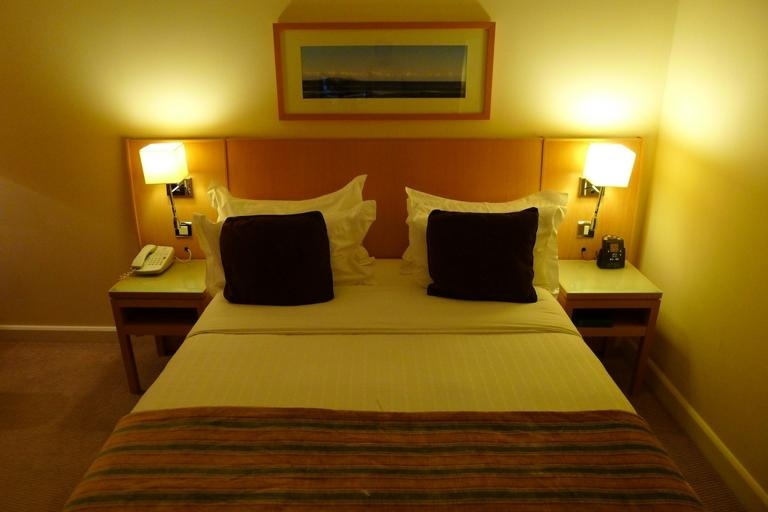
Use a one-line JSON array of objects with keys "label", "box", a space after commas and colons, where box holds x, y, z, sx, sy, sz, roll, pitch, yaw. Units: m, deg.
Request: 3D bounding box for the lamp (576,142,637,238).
[{"label": "lamp", "box": [1.534, -0.435, 3.800, 0.290, 0.686, 0.263, 3, 17, 10]}]

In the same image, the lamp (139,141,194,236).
[{"label": "lamp", "box": [-1.535, -0.454, 3.853, 0.290, 0.675, 0.255, -2, 17, -6]}]

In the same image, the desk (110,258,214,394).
[{"label": "desk", "box": [-1.599, 0.456, 4.132, 0.696, 0.860, 0.762, 7, 29, 3]}]

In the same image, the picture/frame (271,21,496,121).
[{"label": "picture/frame", "box": [0.006, -1.265, 3.777, 1.471, 0.665, 0.074, 0, 6, 0]}]

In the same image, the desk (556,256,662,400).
[{"label": "desk", "box": [1.520, 0.537, 3.981, 0.661, 0.793, 0.560, 0, 20, -4]}]
